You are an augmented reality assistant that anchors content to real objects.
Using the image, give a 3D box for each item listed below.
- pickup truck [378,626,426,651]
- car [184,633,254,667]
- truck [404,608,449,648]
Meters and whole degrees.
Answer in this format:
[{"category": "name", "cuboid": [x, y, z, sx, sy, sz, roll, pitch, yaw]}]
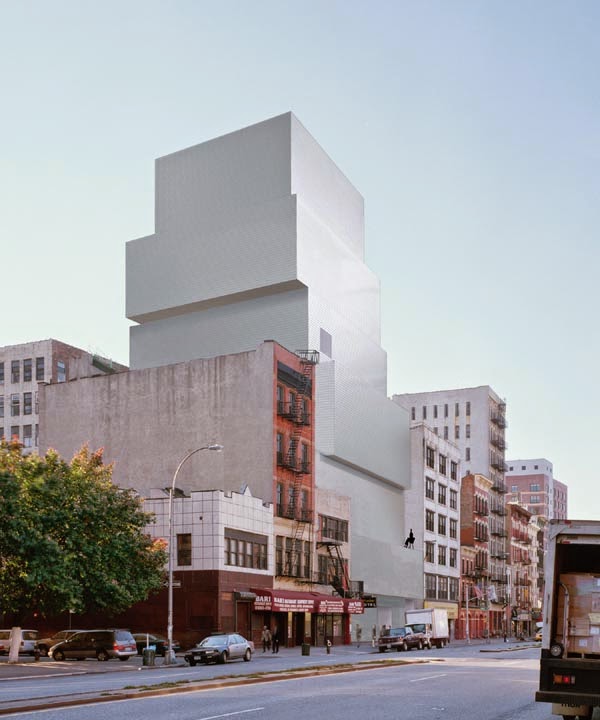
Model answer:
[{"category": "pickup truck", "cuboid": [6.033, 16.192, 77.022, 1.723, 1.464, 6.000, -3, -14, 17]}, {"category": "car", "cuboid": [-3.312, 12.105, 55.303, 1.380, 1.337, 4.002, -5, -14, 23]}, {"category": "truck", "cuboid": [7.750, 16.657, 81.912, 1.777, 2.282, 3.433, -3, -8, 22]}]
